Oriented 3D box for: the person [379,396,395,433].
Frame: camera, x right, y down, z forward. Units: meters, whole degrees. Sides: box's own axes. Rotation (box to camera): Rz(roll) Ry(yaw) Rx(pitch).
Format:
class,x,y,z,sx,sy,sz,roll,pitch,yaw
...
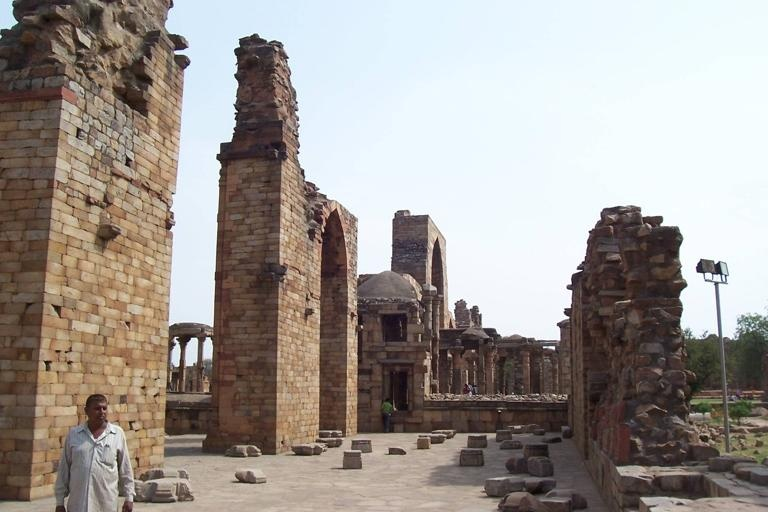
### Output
class,x,y,z,sx,sy,sz,roll,pitch,yaw
person,0.133,5.171,23.588,0.420,1.020,0.545,0,-16,-1
